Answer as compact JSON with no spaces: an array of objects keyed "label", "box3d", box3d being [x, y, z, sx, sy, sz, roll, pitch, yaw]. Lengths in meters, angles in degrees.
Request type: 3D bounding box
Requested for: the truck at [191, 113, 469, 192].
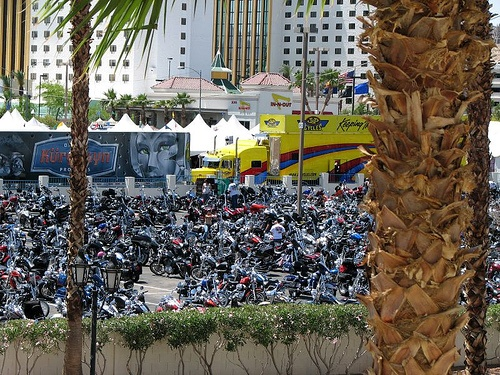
[{"label":"truck","box3d":[1.984,-1.761,66.160,11.382,5.260,3.662,-1,4,-23]}]
